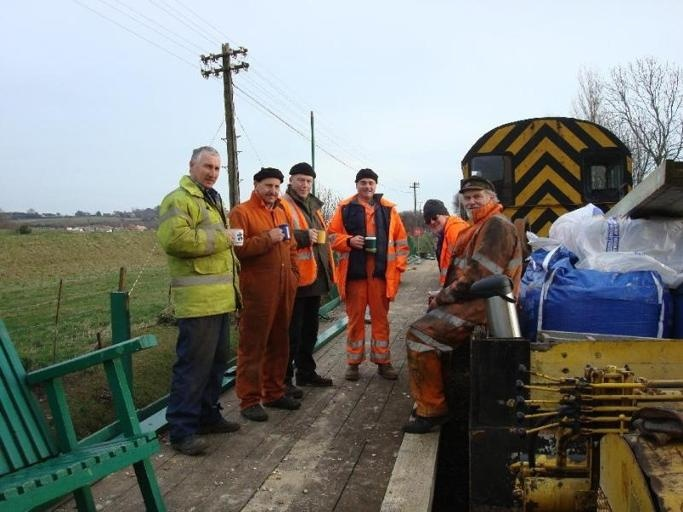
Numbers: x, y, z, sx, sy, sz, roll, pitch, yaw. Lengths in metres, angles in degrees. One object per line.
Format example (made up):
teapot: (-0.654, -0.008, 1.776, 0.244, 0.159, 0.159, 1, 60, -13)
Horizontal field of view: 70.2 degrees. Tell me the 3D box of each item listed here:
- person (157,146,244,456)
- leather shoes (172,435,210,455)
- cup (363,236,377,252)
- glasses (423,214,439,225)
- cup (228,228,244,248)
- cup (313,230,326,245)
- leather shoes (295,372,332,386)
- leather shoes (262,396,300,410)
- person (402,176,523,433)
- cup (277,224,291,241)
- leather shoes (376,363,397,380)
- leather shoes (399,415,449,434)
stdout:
person: (-1.092, 0.323, 3.823, 0.631, 2.343, 0.434, -3, 4, -30)
leather shoes: (-1.152, 1.445, 3.699, 0.219, 0.108, 0.135, 4, 1, -2)
cup: (0.317, -0.112, 5.305, 0.133, 0.167, 0.146, 1, 2, 0)
glasses: (1.053, -0.428, 5.719, 0.110, 0.133, 0.039, 3, 7, 42)
cup: (-0.843, -0.150, 3.883, 0.094, 0.107, 0.130, -1, -3, -9)
cup: (-0.218, -0.188, 5.036, 0.119, 0.150, 0.258, -1, 4, -3)
leather shoes: (-0.283, 1.316, 5.162, 0.383, 0.206, 0.152, 0, -2, 2)
leather shoes: (-0.564, 1.379, 4.600, 0.332, 0.158, 0.131, -2, 1, 2)
person: (1.025, 0.396, 3.983, 0.804, 2.129, 0.832, 6, -11, 7)
cup: (-0.516, -0.203, 4.331, 0.084, 0.140, 0.139, -3, -14, -16)
leather shoes: (0.519, 1.279, 5.397, 0.171, 0.136, 0.332, -2, 4, -16)
leather shoes: (0.666, 1.344, 3.915, 0.370, 0.186, 0.145, 1, -1, -6)
